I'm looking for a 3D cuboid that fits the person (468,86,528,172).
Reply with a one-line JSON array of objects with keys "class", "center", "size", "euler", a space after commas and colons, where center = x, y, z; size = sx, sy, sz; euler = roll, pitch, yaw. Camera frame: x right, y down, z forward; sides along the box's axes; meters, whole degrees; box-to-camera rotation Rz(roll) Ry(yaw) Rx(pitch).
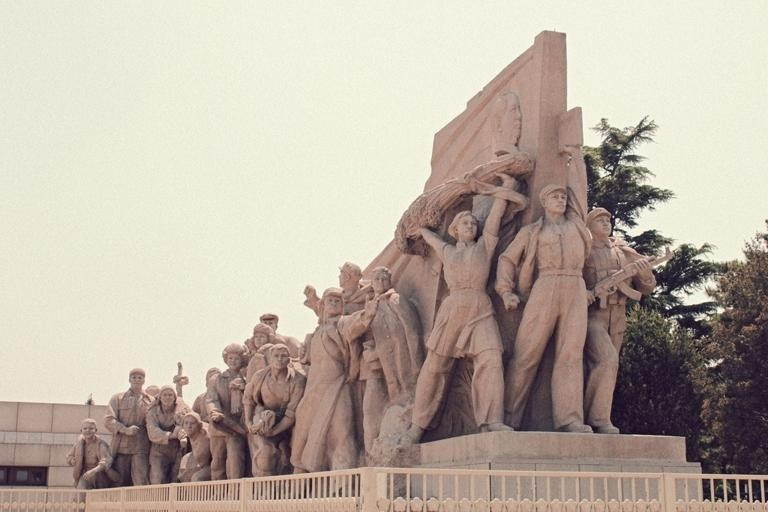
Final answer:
[{"class": "person", "center": [2.357, -2.224, 27.725], "size": [0.740, 1.380, 0.770], "euler": [-15, -31, 29]}]
